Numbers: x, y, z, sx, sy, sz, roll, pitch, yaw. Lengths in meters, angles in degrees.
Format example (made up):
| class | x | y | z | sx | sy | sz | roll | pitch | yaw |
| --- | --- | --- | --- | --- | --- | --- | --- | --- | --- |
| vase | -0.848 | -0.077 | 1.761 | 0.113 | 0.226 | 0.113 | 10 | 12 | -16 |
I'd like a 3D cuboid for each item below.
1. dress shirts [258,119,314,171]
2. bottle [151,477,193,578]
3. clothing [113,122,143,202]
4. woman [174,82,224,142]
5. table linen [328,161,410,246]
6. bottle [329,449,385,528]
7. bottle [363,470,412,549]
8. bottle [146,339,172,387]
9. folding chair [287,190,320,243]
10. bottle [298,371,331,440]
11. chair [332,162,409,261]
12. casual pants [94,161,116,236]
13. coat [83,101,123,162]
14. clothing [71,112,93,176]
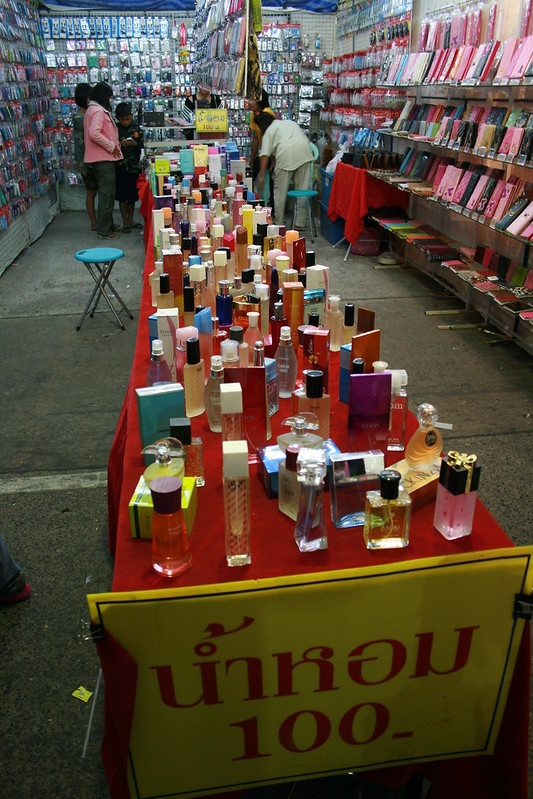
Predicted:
| class | x | y | z | sx | sy | sz | roll | pitch | yaw |
| --- | --- | --- | --- | --- | --- | --- | --- | --- | --- |
| dress shirts | 0.268 | -3.561 | 7.688 | 0.722 | 0.641 | 0.304 | 3 | 28 | 3 |
| bottle | -0.172 | 0.202 | 0.939 | 0.067 | 0.211 | 0.130 | -6 | 29 | -14 |
| clothing | -2.114 | -3.635 | 8.321 | 0.451 | 1.464 | 0.396 | 2 | 33 | -8 |
| woman | -0.898 | -3.714 | 7.093 | 0.574 | 0.595 | 1.490 | -3 | 29 | -8 |
| table linen | 1.293 | -2.687 | 7.158 | 0.796 | 0.775 | 1.127 | -6 | 32 | -12 |
| bottle | 0.174 | 0.171 | 1.041 | 0.096 | 0.143 | 0.041 | -7 | 27 | 2 |
| bottle | 0.222 | 0.199 | 1.002 | 0.079 | 0.146 | 0.051 | -2 | 28 | 1 |
| bottle | -0.290 | -0.098 | 1.483 | 0.061 | 0.156 | 0.063 | 3 | 42 | -2 |
| folding chair | 0.526 | -2.743 | 7.997 | 0.507 | 0.645 | 0.492 | -25 | 43 | -29 |
| bottle | 0.119 | 0.020 | 1.301 | 0.066 | 0.167 | 0.048 | 4 | 28 | 19 |
| chair | 1.276 | -2.450 | 7.327 | 0.970 | 1.032 | 1.436 | -8 | 44 | -13 |
| casual pants | -2.376 | -2.986 | 7.972 | 0.303 | 1.169 | 0.356 | -10 | 22 | -29 |
| coat | -2.295 | -3.691 | 7.562 | 0.494 | 0.752 | 0.632 | -19 | 69 | -22 |
| clothing | -2.655 | -3.718 | 8.008 | 0.248 | 1.058 | 0.244 | -1 | -11 | -20 |
